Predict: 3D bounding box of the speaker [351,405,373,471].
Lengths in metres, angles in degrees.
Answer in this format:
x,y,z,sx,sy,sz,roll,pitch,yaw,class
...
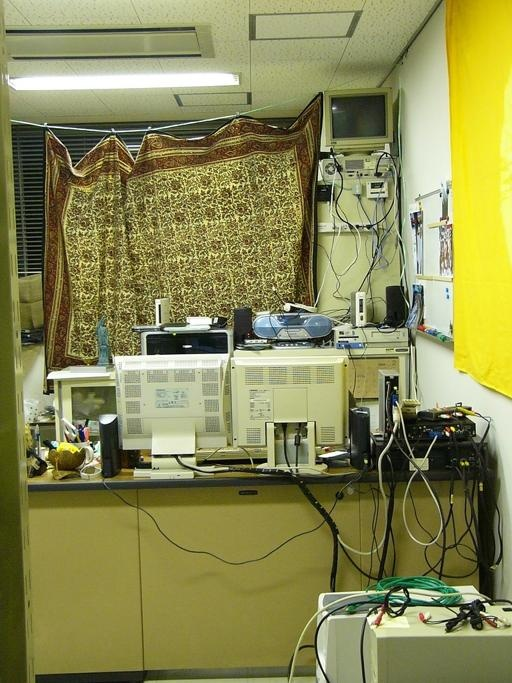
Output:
x,y,z,sx,sy,sz,roll,pitch,yaw,class
0.380,0.358,2.217,0.087,0.261,0.207,-1,5,2,speaker

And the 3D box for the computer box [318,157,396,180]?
x,y,z,sx,sy,sz,roll,pitch,yaw,class
0.645,-1.148,4.065,0.517,0.180,0.104,-2,0,23,computer box

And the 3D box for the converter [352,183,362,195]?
x,y,z,sx,sy,sz,roll,pitch,yaw,class
0.674,-1.027,4.083,0.064,0.108,0.091,-2,0,9,converter

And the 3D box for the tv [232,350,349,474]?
x,y,z,sx,sy,sz,roll,pitch,yaw,class
0.122,0.264,2.251,0.432,0.426,0.141,-2,0,7,tv

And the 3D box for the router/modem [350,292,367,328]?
x,y,z,sx,sy,sz,roll,pitch,yaw,class
0.631,-0.192,3.780,0.073,0.125,0.212,1,8,4,router/modem

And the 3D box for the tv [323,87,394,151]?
x,y,z,sx,sy,sz,roll,pitch,yaw,class
0.683,-1.429,4.008,0.453,0.410,0.303,1,11,18,tv

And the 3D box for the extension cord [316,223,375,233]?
x,y,z,sx,sy,sz,roll,pitch,yaw,class
0.617,-0.781,4.174,0.394,0.080,0.049,-2,0,20,extension cord

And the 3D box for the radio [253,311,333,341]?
x,y,z,sx,sy,sz,roll,pitch,yaw,class
0.233,-0.090,3.851,0.502,0.182,0.133,-2,0,-3,radio

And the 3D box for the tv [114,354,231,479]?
x,y,z,sx,sy,sz,roll,pitch,yaw,class
-0.305,0.271,2.236,0.428,0.450,0.103,-2,0,4,tv

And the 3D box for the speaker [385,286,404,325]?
x,y,z,sx,sy,sz,roll,pitch,yaw,class
0.873,-0.215,3.836,0.130,0.252,0.300,-2,0,14,speaker

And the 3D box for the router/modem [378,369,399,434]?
x,y,z,sx,sy,sz,roll,pitch,yaw,class
0.493,0.225,2.263,0.071,0.236,0.229,2,3,9,router/modem

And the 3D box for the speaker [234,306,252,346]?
x,y,z,sx,sy,sz,roll,pitch,yaw,class
-0.090,-0.102,4.051,0.121,0.256,0.296,-2,0,-7,speaker
